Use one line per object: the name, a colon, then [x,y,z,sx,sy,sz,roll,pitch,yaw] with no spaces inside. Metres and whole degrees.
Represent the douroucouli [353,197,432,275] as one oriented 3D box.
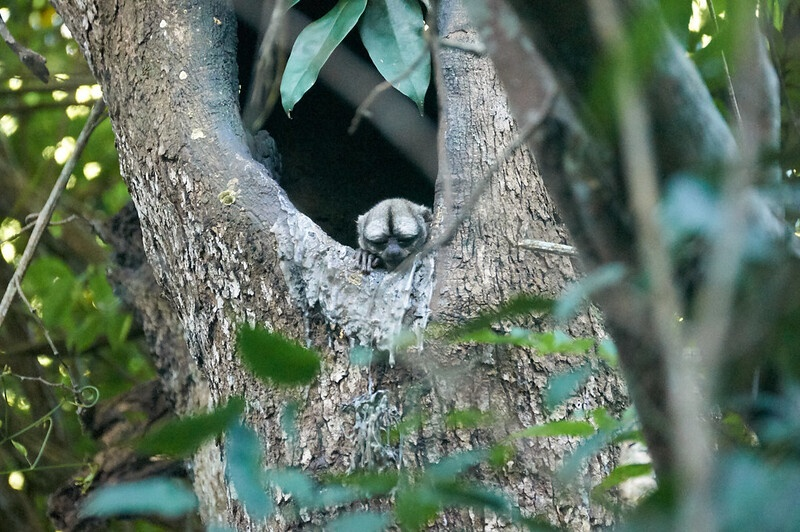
douroucouli: [-0.054,-0.192,9.491,0.461,0.601,0.505,-5,95,-5]
